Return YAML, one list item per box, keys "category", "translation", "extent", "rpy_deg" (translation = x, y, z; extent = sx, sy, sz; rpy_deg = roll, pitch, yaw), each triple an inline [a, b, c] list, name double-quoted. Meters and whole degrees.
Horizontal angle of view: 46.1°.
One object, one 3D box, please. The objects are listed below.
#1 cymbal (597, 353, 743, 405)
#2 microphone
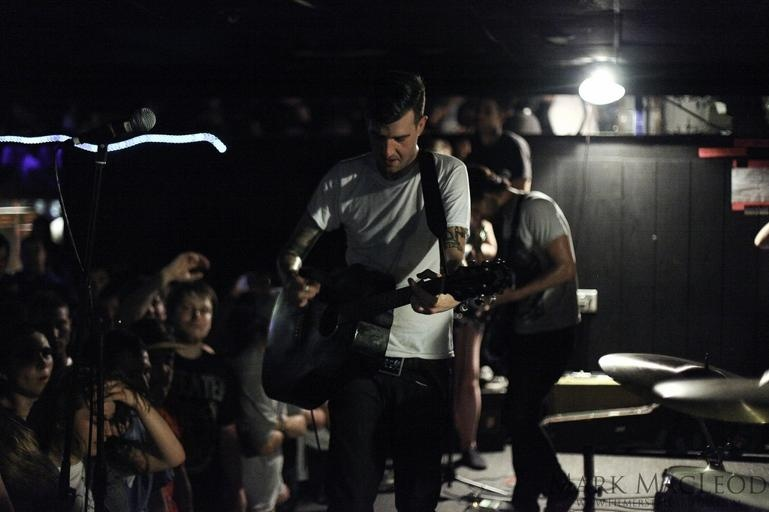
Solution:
- category: "cymbal"
  translation: [1.664, 0.678, 5.368]
  extent: [0.867, 0.261, 0.633]
  rpy_deg: [0, 8, 7]
- category: "microphone"
  translation: [-1.657, -0.744, 5.450]
  extent: [0.604, 0.208, 0.196]
  rpy_deg: [-8, 36, 11]
